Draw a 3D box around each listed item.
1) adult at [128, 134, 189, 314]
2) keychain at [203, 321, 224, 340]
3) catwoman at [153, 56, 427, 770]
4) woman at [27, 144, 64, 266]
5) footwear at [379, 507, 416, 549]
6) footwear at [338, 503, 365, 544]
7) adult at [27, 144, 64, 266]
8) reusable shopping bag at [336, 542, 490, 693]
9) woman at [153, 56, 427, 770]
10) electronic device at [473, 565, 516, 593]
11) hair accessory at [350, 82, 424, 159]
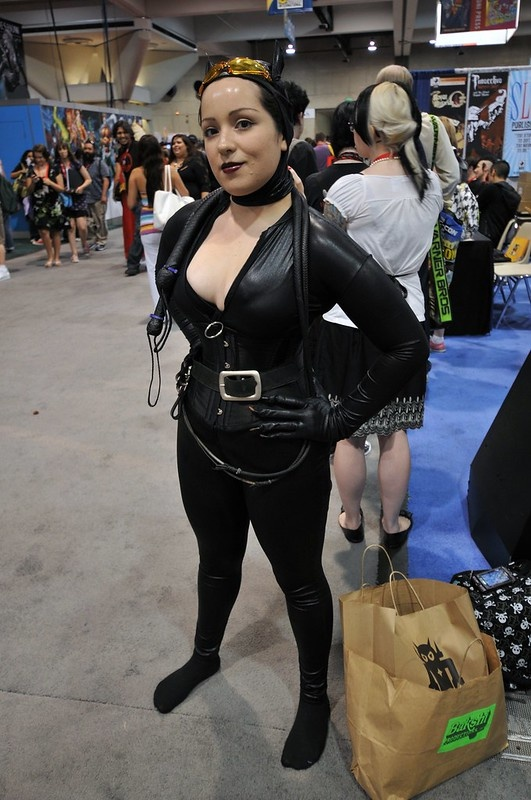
[{"bbox_3d":[-1.091,-1.724,5.046,0.511,1.553,0.456,-13,39,-17],"label":"adult"},{"bbox_3d":[-0.088,-0.111,0.830,0.018,0.031,0.033,-23,29,-40],"label":"keychain"},{"bbox_3d":[-0.027,0.169,1.019,0.602,1.433,0.234,12,26,35],"label":"catwoman"},{"bbox_3d":[-3.597,-3.044,8.266,0.547,1.802,0.687,-16,24,-29],"label":"woman"},{"bbox_3d":[0.542,0.508,2.096,0.072,0.058,0.193,1,33,18],"label":"footwear"},{"bbox_3d":[0.353,0.501,2.106,0.069,0.048,0.172,-4,24,2],"label":"footwear"},{"bbox_3d":[-3.597,-3.044,8.266,0.547,1.802,0.688,-16,24,-29],"label":"adult"},{"bbox_3d":[0.327,0.469,1.123,0.294,0.282,0.190,-7,-2,-9],"label":"reusable shopping bag"},{"bbox_3d":[-0.027,0.169,1.020,0.603,1.433,0.234,12,26,35],"label":"woman"},{"bbox_3d":[0.654,0.502,1.461,0.086,0.020,0.053,-8,24,-5],"label":"electronic device"},{"bbox_3d":[0.349,-0.815,1.559,0.180,0.263,0.148,-2,7,-4],"label":"hair accessory"}]
